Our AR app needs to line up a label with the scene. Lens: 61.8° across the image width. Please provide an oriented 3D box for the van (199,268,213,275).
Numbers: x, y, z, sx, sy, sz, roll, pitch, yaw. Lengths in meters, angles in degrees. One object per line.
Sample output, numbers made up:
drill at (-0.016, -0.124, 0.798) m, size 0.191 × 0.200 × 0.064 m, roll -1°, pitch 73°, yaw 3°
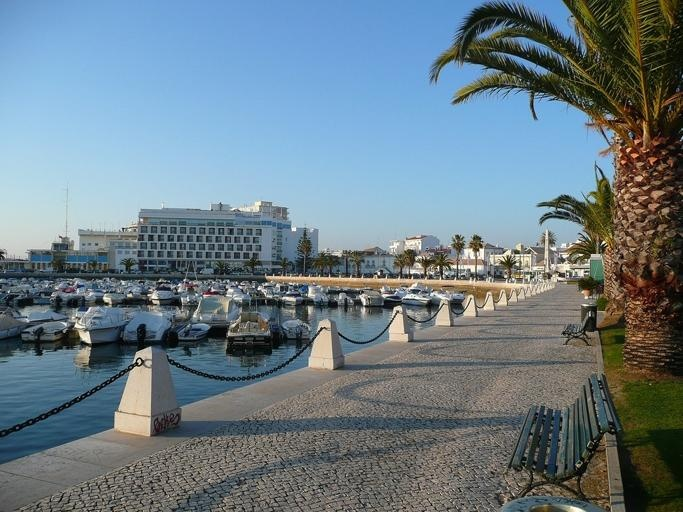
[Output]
van at (-34.113, 3.889, 143.631) m, size 2.877 × 1.222 × 1.967 m, roll 2°, pitch 0°, yaw 11°

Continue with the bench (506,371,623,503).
bench at (3.549, 2.930, 9.036) m, size 1.490 × 1.848 × 2.162 m, roll -2°, pitch -1°, yaw 23°

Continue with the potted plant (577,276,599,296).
potted plant at (20.616, 2.557, 48.507) m, size 2.020 × 1.936 × 2.035 m, roll -3°, pitch 0°, yaw 42°

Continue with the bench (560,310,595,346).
bench at (8.809, 2.636, 21.263) m, size 1.103 × 0.959 × 2.114 m, roll -1°, pitch 1°, yaw 25°
